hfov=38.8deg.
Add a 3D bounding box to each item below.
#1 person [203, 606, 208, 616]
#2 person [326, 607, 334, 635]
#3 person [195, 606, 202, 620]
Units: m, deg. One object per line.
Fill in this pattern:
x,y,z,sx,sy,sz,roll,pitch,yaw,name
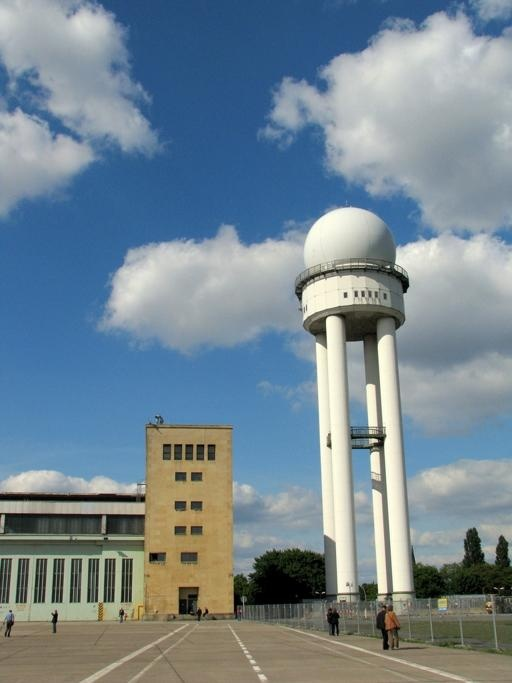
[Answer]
-4.894,26.586,71.334,0.390,0.800,0.863,-12,-18,27,person
3.814,14.363,37.264,0.291,1.260,1.194,-5,-16,4,person
-5.577,26.547,71.043,0.558,0.995,1.303,-3,-16,-6,person
